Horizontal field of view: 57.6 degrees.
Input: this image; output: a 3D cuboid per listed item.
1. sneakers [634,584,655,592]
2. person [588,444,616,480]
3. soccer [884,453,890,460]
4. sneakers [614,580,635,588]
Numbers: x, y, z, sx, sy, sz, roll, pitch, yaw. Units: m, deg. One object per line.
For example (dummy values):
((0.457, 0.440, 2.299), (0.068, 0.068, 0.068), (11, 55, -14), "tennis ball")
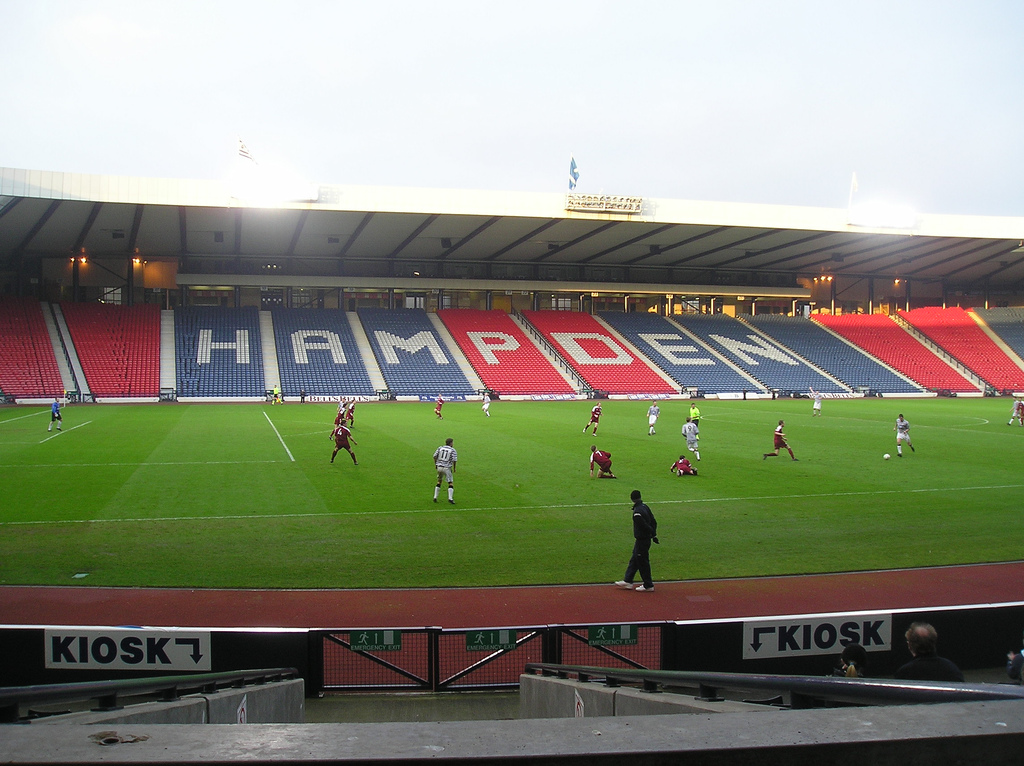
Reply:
((2.108, 3.285, 14.835), (0.320, 0.100, 0.107), (0, -3, 21), "sneakers")
((2.426, 2.186, 25.390), (0.624, 0.851, 1.889), (0, 2, 6), "person")
((11.730, 2.353, 29.230), (0.153, 0.103, 0.116), (0, 19, -28), "soccer")
((1.788, 3.253, 15.043), (0.344, 0.123, 0.122), (7, 0, 29), "sneakers")
